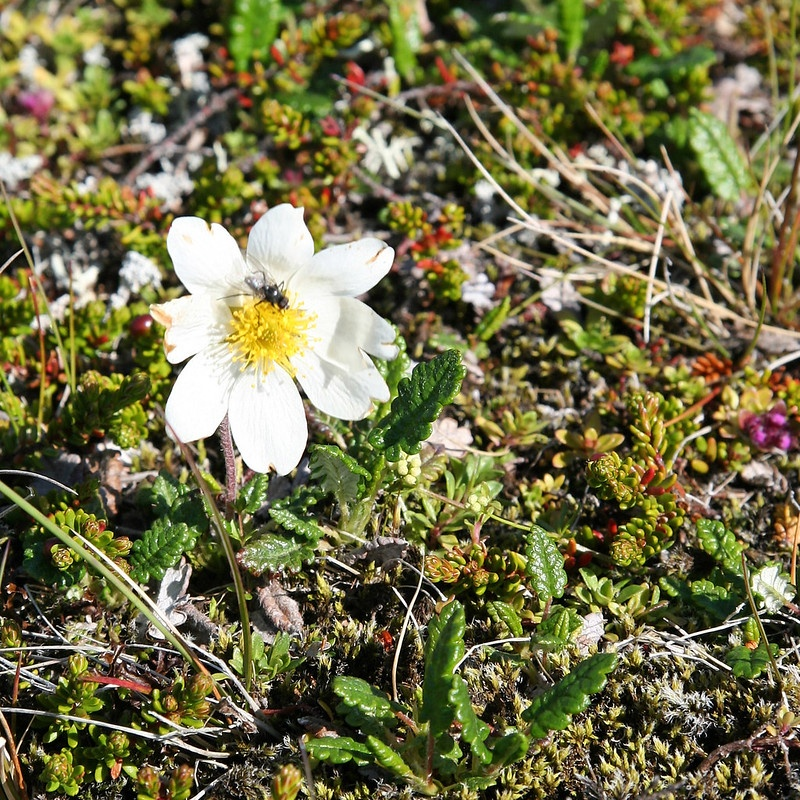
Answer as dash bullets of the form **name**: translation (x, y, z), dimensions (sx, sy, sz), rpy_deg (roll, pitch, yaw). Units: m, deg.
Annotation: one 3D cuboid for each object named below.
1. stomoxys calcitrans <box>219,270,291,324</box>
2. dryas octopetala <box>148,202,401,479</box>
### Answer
- **stomoxys calcitrans**: translation (-0.482, -0.378, 2.944), dimensions (0.162, 0.147, 0.050), rpy_deg (41, 35, -21)
- **dryas octopetala**: translation (-0.407, -0.213, 2.887), dimensions (0.796, 0.707, 0.590), rpy_deg (-4, 46, -5)
